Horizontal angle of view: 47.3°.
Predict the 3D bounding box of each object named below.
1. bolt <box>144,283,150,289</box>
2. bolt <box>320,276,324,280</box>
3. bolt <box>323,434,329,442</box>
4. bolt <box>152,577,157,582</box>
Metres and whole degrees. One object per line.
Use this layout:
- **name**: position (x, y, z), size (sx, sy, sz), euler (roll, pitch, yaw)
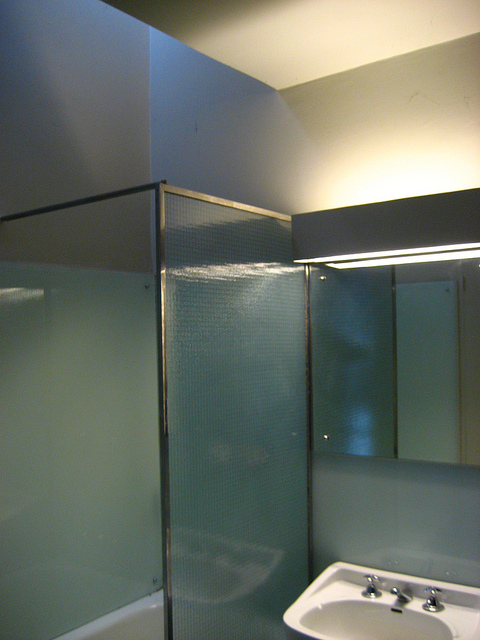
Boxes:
- **bolt**: position (-0.317, -0.118, 1.875), size (0.015, 0.018, 0.008), euler (-6, 3, -22)
- **bolt**: position (0.281, -0.147, 1.886), size (0.002, 0.011, 0.009), euler (-5, 10, -44)
- **bolt**: position (0.295, 0.406, 1.893), size (0.014, 0.018, 0.015), euler (-2, -13, -28)
- **bolt**: position (-0.323, 0.975, 2.061), size (0.013, 0.024, 0.005), euler (2, 0, -31)
